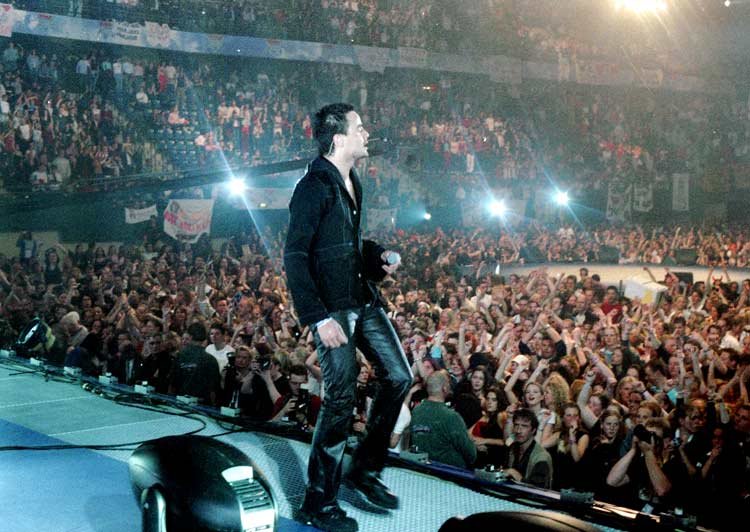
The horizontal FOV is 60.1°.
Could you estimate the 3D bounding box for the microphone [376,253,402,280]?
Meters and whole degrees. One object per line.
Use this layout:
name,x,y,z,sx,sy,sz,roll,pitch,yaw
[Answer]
microphone,0.108,-0.017,3.561,0.102,0.136,0.169,2,-3,22

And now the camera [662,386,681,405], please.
camera,2.226,0.957,4.821,0.081,0.115,0.129,5,-4,-36

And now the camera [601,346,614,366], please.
camera,1.903,0.725,5.280,0.083,0.116,0.037,0,-10,0
